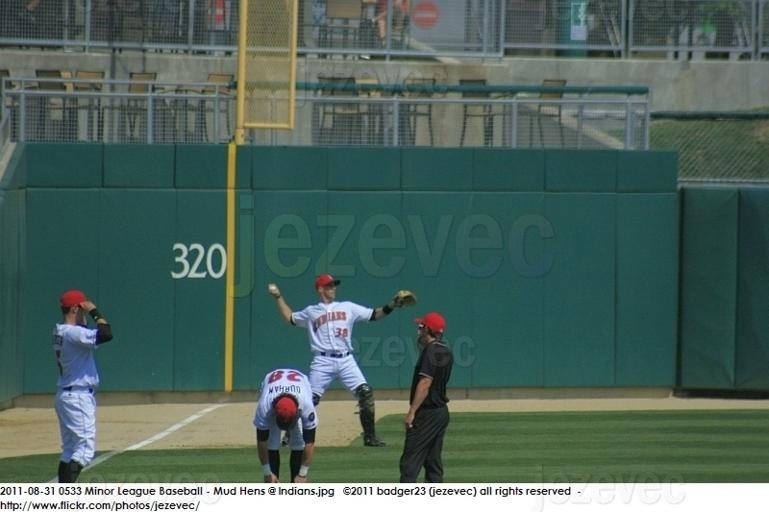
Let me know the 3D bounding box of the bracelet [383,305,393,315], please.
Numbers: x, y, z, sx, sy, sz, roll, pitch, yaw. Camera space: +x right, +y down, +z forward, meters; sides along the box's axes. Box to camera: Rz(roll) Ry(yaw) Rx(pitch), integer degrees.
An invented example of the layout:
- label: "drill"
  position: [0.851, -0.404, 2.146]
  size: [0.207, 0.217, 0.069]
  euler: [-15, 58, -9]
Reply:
- label: "bracelet"
  position: [0.095, 0.994, 32.325]
  size: [0.153, 0.177, 0.177]
  euler: [-25, -48, 32]

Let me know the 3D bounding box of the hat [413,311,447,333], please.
- label: "hat"
  position: [0.821, 1.227, 30.906]
  size: [0.497, 0.296, 0.352]
  euler: [27, 19, 20]

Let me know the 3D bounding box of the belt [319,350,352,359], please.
- label: "belt"
  position: [-0.953, 1.873, 32.544]
  size: [0.634, 0.102, 0.160]
  euler: [0, 1, -3]

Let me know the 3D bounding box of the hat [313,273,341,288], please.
- label: "hat"
  position: [-1.064, 0.485, 32.502]
  size: [0.369, 0.177, 0.269]
  euler: [-5, 5, 0]

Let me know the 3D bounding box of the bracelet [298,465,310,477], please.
- label: "bracelet"
  position: [-1.409, 3.810, 30.701]
  size: [0.189, 0.211, 0.207]
  euler: [3, -14, -7]

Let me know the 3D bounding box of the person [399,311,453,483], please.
- label: "person"
  position: [0.734, 2.539, 30.661]
  size: [0.909, 2.972, 0.517]
  euler: [0, 1, -31]

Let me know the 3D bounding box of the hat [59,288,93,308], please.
- label: "hat"
  position: [-5.518, 0.848, 31.144]
  size: [0.457, 0.254, 0.336]
  euler: [-31, 38, -35]

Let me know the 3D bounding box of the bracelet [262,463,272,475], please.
- label: "bracelet"
  position: [-2.048, 3.786, 30.664]
  size: [0.174, 0.208, 0.193]
  euler: [-2, -3, -2]

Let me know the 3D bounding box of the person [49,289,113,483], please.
- label: "person"
  position: [-5.448, 2.357, 31.060]
  size: [0.898, 3.396, 0.669]
  euler: [0, 1, -12]

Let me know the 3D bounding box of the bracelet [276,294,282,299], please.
- label: "bracelet"
  position: [-1.957, 0.767, 32.193]
  size: [0.053, 0.075, 0.078]
  euler: [8, 33, -43]
